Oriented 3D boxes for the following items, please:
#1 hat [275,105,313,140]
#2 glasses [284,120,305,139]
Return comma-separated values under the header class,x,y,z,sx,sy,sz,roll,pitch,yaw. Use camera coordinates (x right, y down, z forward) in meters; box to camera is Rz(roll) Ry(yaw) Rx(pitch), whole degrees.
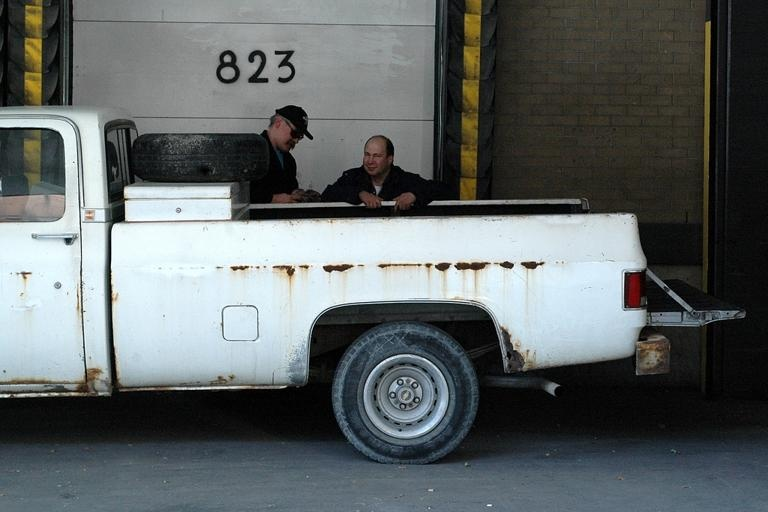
class,x,y,z,sx,sy,sz,roll,pitch,yaw
hat,-0.884,-1.383,11.274,0.446,0.204,0.278,33,-2,3
glasses,-0.903,-1.292,11.233,0.050,0.165,0.164,-46,-31,17
